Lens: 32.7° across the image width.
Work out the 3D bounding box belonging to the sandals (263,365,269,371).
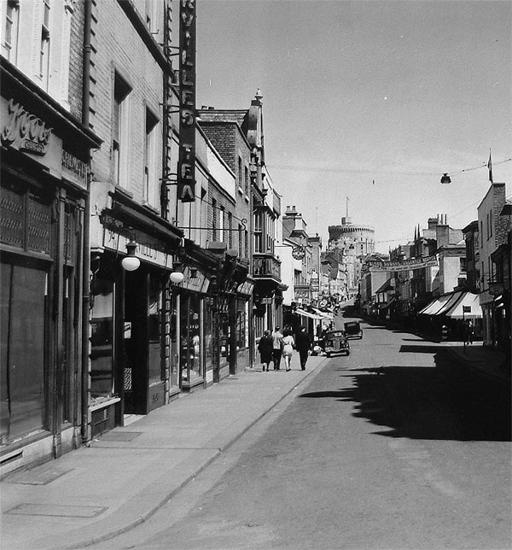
[{"bbox_3d":[0.334,3.236,31.045,0.179,0.279,0.409,0,-9,3],"label":"sandals"}]

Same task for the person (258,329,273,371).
[{"bbox_3d":[0.362,2.656,31.247,0.485,1.527,1.752,-1,-7,0],"label":"person"}]

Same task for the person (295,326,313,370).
[{"bbox_3d":[1.735,2.439,31.726,0.445,2.042,0.504,-1,33,3],"label":"person"}]
